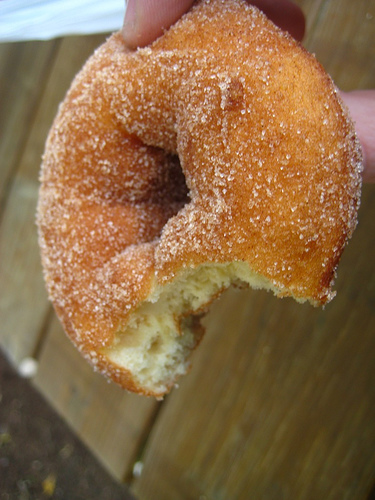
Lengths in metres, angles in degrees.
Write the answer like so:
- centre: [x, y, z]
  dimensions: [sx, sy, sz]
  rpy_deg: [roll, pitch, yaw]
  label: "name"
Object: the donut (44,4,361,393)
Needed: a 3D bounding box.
- centre: [0.000, -0.035, 0.516]
  dimensions: [0.251, 0.259, 0.214]
  rpy_deg: [14, 46, 14]
  label: "donut"
